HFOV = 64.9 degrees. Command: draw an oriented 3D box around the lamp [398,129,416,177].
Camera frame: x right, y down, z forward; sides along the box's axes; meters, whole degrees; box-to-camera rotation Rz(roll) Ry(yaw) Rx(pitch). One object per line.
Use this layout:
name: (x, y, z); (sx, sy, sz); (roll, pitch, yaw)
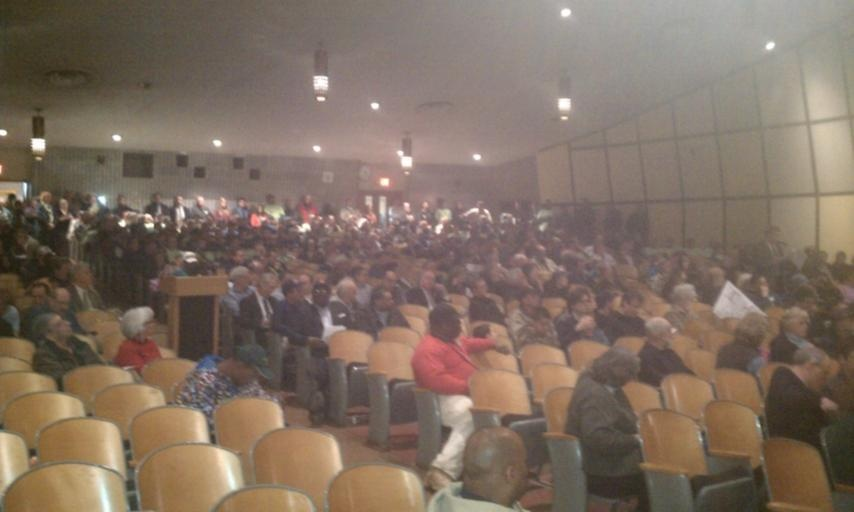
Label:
lamp: (-0.215, -1.131, 7.416); (0.147, 0.469, 0.162); (0, 3, -4)

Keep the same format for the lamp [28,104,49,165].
lamp: (-4.022, -1.265, 6.959); (0.158, 0.544, 0.109); (0, 3, -20)

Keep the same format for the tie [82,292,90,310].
tie: (-3.460, 0.462, 6.807); (0.036, 0.157, 0.044); (-20, -14, -6)

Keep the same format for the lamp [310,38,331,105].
lamp: (-1.168, -2.069, 7.470); (0.176, 0.590, 0.069); (0, 3, -10)

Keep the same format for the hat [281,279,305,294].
hat: (-1.415, 0.329, 7.133); (0.184, 0.165, 0.136); (-25, 6, -3)

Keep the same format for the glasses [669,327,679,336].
glasses: (2.540, 0.773, 6.883); (0.080, 0.056, 0.062); (-6, 4, 12)

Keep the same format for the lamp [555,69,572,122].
lamp: (1.542, -1.783, 7.459); (0.170, 0.576, 0.203); (1, 3, 7)
